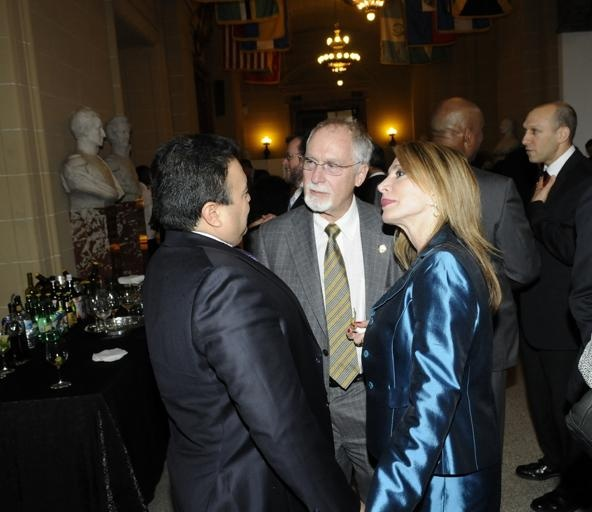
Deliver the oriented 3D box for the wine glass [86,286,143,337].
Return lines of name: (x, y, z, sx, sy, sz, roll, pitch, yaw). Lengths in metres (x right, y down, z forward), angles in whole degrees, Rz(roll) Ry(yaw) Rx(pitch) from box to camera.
wine glass: (-1.178, 0.368, 3.240, 0.294, 0.182, 0.312, 3, 8, 28)

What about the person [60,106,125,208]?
person: (-1.884, -0.890, 4.663, 0.474, 0.942, 0.467, -7, 5, -12)
